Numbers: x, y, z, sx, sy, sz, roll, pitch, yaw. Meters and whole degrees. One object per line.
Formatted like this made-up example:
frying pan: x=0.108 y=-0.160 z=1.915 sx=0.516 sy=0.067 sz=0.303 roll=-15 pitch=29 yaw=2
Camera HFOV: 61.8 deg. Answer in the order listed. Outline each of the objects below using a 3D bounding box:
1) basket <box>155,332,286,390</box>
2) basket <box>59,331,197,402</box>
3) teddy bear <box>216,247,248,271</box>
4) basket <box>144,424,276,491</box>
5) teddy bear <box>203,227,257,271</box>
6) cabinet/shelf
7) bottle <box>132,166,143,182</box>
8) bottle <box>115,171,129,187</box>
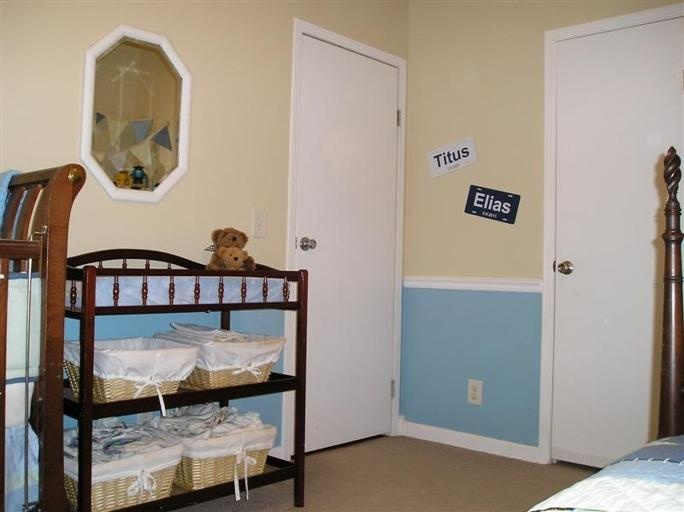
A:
basket: x=-0.462 y=0.402 z=2.393 sx=0.275 sy=0.139 sz=0.370 roll=3 pitch=-7 yaw=-42
basket: x=-0.798 y=0.376 z=2.191 sx=0.358 sy=0.163 sz=0.270 roll=-2 pitch=5 yaw=-45
teddy bear: x=-0.496 y=0.025 z=2.566 sx=0.148 sy=0.106 sz=0.095 roll=7 pitch=-11 yaw=-43
basket: x=-0.484 y=0.834 z=2.401 sx=0.269 sy=0.151 sz=0.365 roll=4 pitch=-10 yaw=-39
teddy bear: x=-0.520 y=-0.005 z=2.621 sx=0.210 sy=0.228 sz=0.152 roll=5 pitch=-12 yaw=-42
cabinet/shelf: x=-0.675 y=0.521 z=2.362 sx=1.122 sy=1.202 sz=0.439 roll=-1 pitch=4 yaw=-41
bottle: x=-0.954 y=-0.380 z=2.657 sx=0.057 sy=0.057 sz=0.059 roll=-1 pitch=2 yaw=1
bottle: x=-1.010 y=-0.345 z=2.617 sx=0.015 sy=0.078 sz=0.074 roll=3 pitch=3 yaw=43
